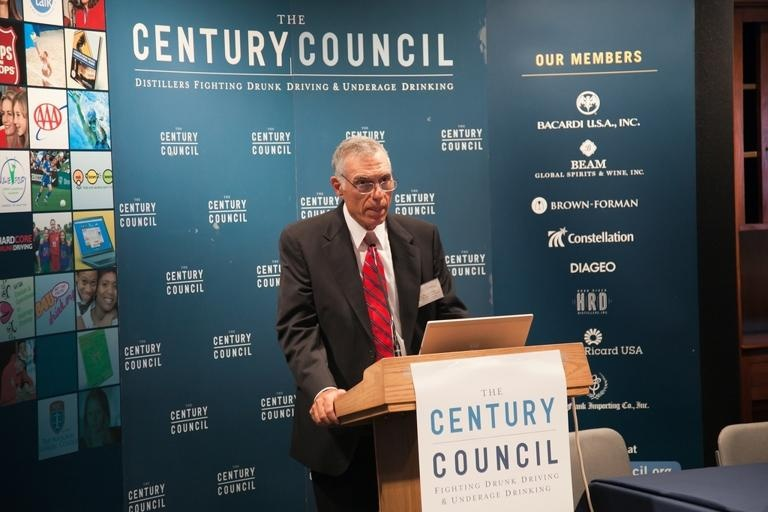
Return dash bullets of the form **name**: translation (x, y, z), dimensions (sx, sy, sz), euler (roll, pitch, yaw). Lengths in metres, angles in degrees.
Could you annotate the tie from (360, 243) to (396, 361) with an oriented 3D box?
- **tie**: translation (-0.032, 0.229, 3.376), dimensions (0.152, 0.579, 0.220), euler (-5, 5, -19)
